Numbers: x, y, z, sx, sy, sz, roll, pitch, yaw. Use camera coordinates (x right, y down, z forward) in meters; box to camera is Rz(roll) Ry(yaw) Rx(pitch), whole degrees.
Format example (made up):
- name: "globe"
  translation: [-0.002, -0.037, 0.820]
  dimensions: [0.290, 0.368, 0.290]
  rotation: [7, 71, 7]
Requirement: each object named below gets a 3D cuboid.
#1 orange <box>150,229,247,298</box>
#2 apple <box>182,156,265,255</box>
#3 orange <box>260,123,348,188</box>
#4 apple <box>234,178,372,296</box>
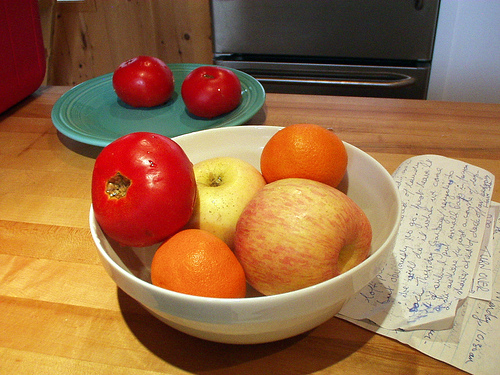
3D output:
- name: "orange"
  translation: [-0.074, 0.101, 0.519]
  dimensions: [0.108, 0.088, 0.089]
  rotation: [-5, 73, -21]
- name: "apple"
  translation: [-0.038, 0.037, 0.657]
  dimensions: [0.123, 0.127, 0.130]
  rotation: [-1, 35, -2]
- name: "orange"
  translation: [0.082, -0.046, 0.585]
  dimensions: [0.101, 0.105, 0.101]
  rotation: [-1, 24, 20]
- name: "apple"
  translation: [0.088, 0.087, 0.566]
  dimensions: [0.137, 0.158, 0.156]
  rotation: [10, 40, 29]
